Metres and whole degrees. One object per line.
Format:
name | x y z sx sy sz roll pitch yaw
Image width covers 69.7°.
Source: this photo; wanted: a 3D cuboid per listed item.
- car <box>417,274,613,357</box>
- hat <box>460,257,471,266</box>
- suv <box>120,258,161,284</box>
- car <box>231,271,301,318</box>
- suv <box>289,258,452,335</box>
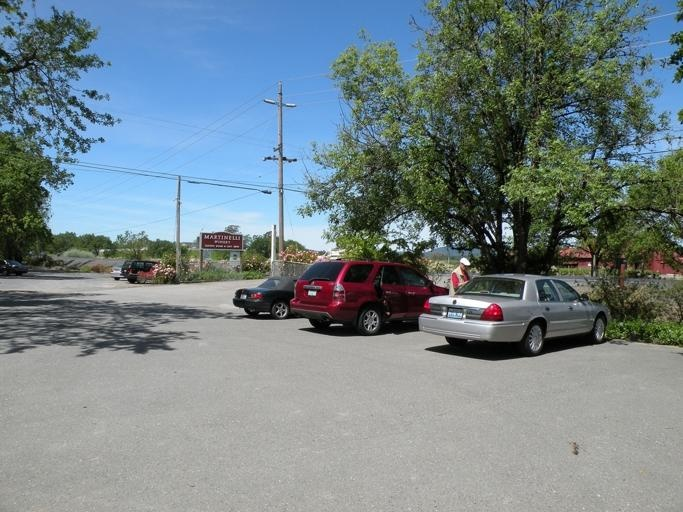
car | 4.187 1.140 11.338 4.128 1.367 1.770 -2 1 -37
hat | 3.827 0.144 15.103 0.300 0.225 0.427 16 -1 -15
suv | -16.728 1.115 41.138 1.854 1.499 3.290 0 3 18
car | -2.519 1.366 16.504 2.515 0.885 1.062 -3 2 -39
suv | 0.855 0.952 14.124 3.948 1.555 1.915 -2 1 -38
